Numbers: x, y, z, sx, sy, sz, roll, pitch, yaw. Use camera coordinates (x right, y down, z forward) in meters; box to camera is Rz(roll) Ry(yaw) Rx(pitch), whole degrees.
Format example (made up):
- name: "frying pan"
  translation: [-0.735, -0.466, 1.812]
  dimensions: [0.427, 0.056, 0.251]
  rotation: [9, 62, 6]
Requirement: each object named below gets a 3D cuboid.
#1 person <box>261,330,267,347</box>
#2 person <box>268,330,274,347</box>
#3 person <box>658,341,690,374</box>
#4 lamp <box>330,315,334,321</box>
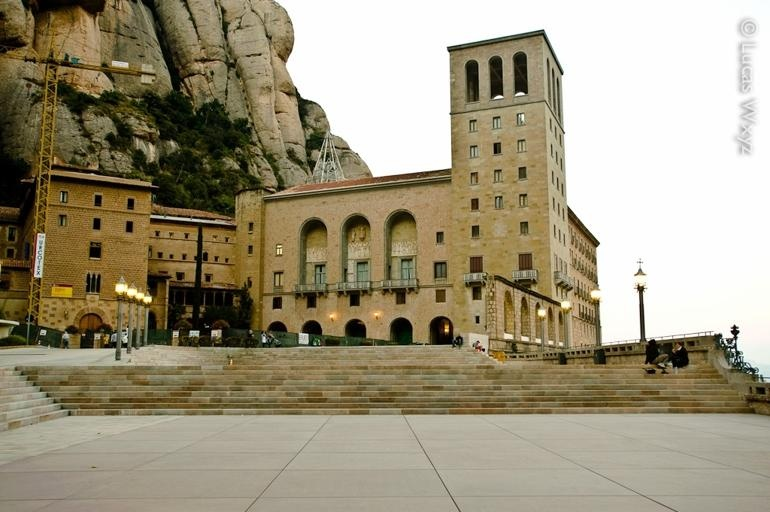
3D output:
- name: "person"
  translation: [-9.448, 6.491, 52.783]
  dimensions: [0.442, 1.235, 1.680]
  rotation: [3, -12, -11]
- name: "person"
  translation: [-9.005, 6.542, 53.170]
  dimensions: [0.492, 1.113, 1.487]
  rotation: [2, -11, -9]
- name: "person"
  translation: [11.079, 3.879, 25.836]
  dimensions: [0.913, 1.200, 1.805]
  rotation: [-6, -13, 29]
- name: "lamp"
  translation: [-5.576, 6.545, 71.034]
  dimensions: [0.475, 0.539, 0.798]
  rotation: [-5, -18, -11]
